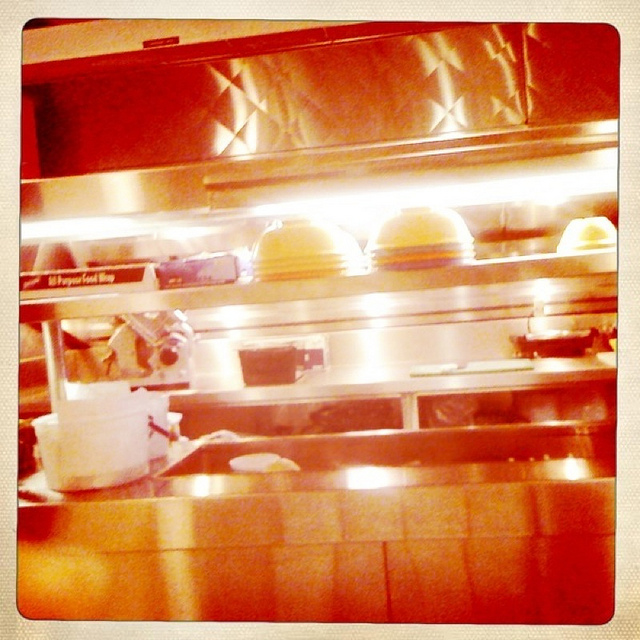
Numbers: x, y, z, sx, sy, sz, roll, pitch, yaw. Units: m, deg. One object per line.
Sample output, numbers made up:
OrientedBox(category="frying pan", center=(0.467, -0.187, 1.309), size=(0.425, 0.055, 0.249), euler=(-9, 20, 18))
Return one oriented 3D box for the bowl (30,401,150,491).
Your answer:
OrientedBox(category="bowl", center=(-0.533, 0.291, 1.895), size=(0.230, 0.140, 0.194), euler=(-6, -2, -20))
